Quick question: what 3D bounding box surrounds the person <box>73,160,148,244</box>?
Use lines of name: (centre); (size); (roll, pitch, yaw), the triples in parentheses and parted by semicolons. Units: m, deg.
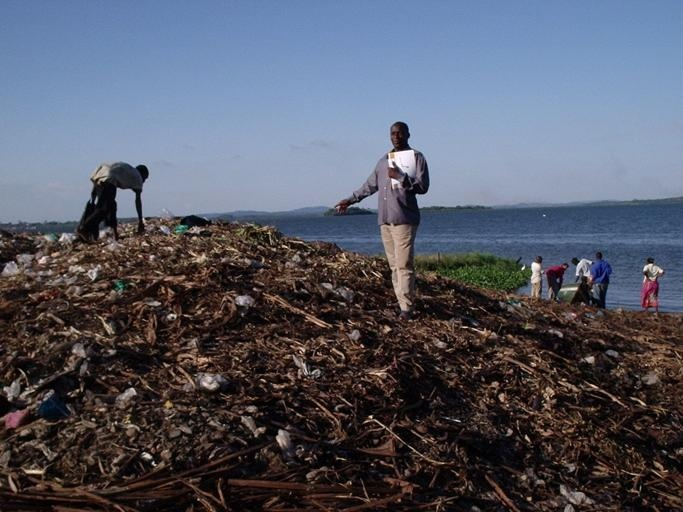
person: (-3.819, -0.964, 8.725); (0.952, 1.352, 0.891); (12, -6, -35)

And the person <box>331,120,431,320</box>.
person: (0.598, -0.295, 5.881); (0.433, 1.803, 1.015); (-2, 6, -26)

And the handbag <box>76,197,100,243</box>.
handbag: (-4.015, -0.578, 8.125); (0.335, 0.652, 0.693); (-2, 6, -25)

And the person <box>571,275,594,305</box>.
person: (6.088, 0.868, 12.936); (0.532, 0.862, 0.542); (2, -21, 38)

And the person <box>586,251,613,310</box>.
person: (6.525, 0.603, 12.985); (0.455, 1.386, 0.871); (4, 6, 25)

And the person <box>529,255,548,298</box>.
person: (5.282, 0.577, 13.876); (0.268, 1.080, 1.101); (3, 6, 19)
